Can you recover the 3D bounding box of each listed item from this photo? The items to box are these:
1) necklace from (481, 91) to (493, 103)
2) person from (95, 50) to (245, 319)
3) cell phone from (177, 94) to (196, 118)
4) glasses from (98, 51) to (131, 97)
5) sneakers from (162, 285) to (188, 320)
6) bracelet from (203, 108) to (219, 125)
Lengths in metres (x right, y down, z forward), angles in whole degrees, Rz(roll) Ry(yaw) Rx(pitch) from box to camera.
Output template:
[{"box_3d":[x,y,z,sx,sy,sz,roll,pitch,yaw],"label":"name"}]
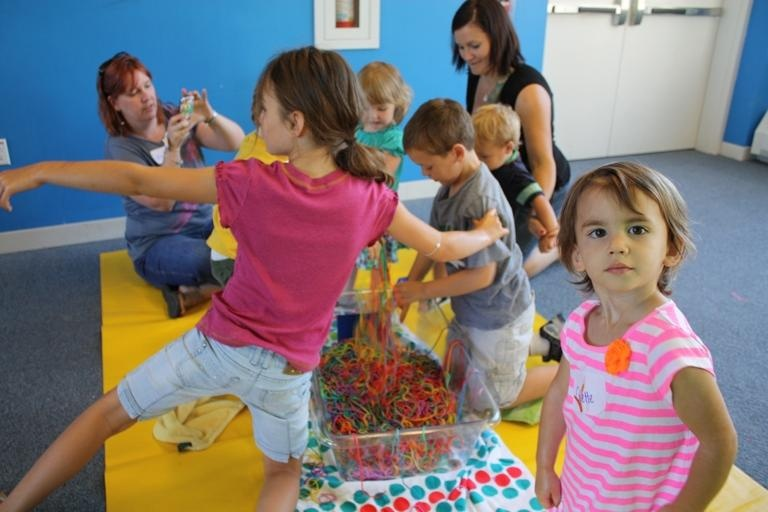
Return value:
[{"box_3d":[0.549,-0.850,3.099,0.034,0.016,0.048,10,-24,-19],"label":"necklace"},{"box_3d":[-1.188,-0.394,3.382,0.797,1.508,0.619,12,27,39],"label":"person"},{"box_3d":[-1.054,-0.794,3.097,0.076,0.122,0.112,-2,8,-4],"label":"cell phone"},{"box_3d":[-1.453,-0.973,3.133,0.169,0.245,0.188,6,11,-27],"label":"glasses"},{"box_3d":[-1.165,0.258,3.215,0.076,0.231,0.088,-30,-29,19],"label":"sneakers"},{"box_3d":[-0.988,-0.782,3.278,0.055,0.083,0.068,-7,-4,-16],"label":"bracelet"}]
